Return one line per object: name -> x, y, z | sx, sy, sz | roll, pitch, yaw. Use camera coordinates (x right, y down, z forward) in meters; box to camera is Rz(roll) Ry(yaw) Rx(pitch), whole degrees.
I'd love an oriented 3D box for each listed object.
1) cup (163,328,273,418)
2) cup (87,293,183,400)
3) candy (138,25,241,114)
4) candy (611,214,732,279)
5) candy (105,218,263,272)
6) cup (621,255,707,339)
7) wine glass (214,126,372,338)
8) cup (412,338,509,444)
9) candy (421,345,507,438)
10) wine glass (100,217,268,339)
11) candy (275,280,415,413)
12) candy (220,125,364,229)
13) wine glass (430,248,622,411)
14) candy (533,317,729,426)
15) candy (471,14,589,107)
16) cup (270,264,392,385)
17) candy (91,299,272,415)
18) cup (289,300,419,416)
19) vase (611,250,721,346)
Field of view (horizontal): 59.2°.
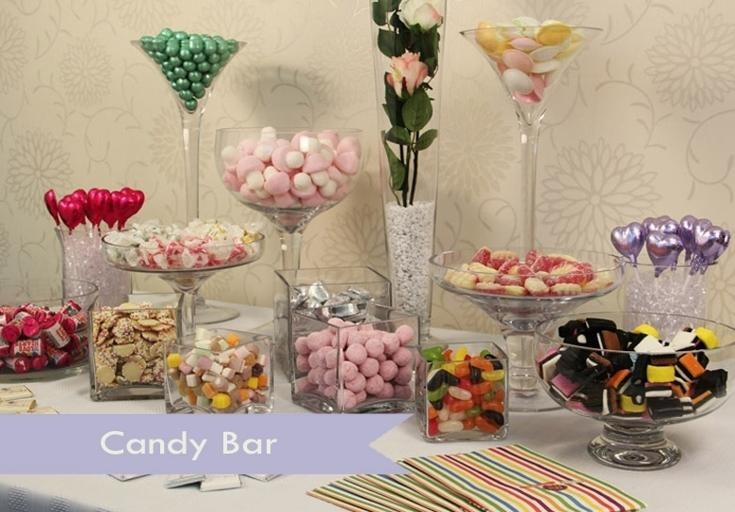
cup -> -0.237, 0.165, 1.081 | 0.173, 0.166, 0.172 | 3, 15, -1
cup -> -0.400, 0.145, 1.107 | 0.156, 0.214, 0.157 | 1, 4, 0
candy -> -0.393, -0.427, 1.494 | 0.184, 0.149, 0.178 | 3, 7, 7
candy -> 0.506, -0.017, 1.084 | 0.175, 0.100, 0.065 | -2, 2, 22
candy -> -0.339, -0.022, 1.207 | 0.286, 0.062, 0.179 | -4, 2, -22
cup -> 0.487, 0.071, 1.102 | 0.131, 0.147, 0.131 | 1, -4, 0
wine glass -> -0.160, -0.077, 1.275 | 0.311, 0.370, 0.296 | 0, 4, 1
cup -> 0.146, 0.210, 1.042 | 0.138, 0.134, 0.136 | -1, 6, 0
candy -> 0.147, 0.207, 1.033 | 0.128, 0.126, 0.130 | 0, 3, 0
wine glass -> -0.336, 0.023, 1.165 | 0.237, 0.169, 0.226 | 0, 2, 0
candy -> -0.029, 0.145, 1.096 | 0.195, 0.187, 0.190 | 0, 2, -33
candy -> -0.150, -0.166, 1.325 | 0.226, 0.161, 0.210 | -1, 4, -1
wine glass -> 0.236, 0.110, 1.069 | 0.200, 0.255, 0.241 | 17, 21, 28
candy -> 0.367, 0.157, 0.912 | 0.179, 0.088, 0.172 | -1, 3, 10
candy -> 0.274, -0.320, 1.110 | 0.143, 0.089, 0.143 | 1, 2, 1
cup -> -0.040, 0.108, 1.149 | 0.211, 0.204, 0.198 | 0, -1, 0
candy -> -0.309, 0.156, 1.083 | 0.263, 0.120, 0.166 | 4, -2, 21
cup -> -0.016, 0.166, 1.087 | 0.178, 0.155, 0.173 | 1, 1, 0
vase -> 0.486, 0.071, 1.103 | 0.146, 0.167, 0.147 | 1, -4, 5
